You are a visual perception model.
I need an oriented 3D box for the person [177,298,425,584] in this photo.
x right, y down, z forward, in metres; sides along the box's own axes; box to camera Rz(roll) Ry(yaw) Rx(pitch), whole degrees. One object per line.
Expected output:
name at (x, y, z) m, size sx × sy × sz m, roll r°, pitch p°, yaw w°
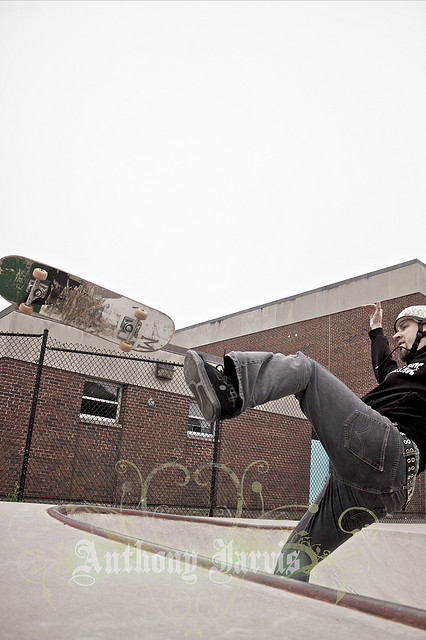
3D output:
person at (0.399, 0.536, 1.880) m, size 0.573 × 1.022 × 1.055 m, roll -4°, pitch -15°, yaw 40°

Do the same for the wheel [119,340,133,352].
wheel at (-1.672, 0.531, 9.462) m, size 0.203 × 0.155 × 0.198 m, roll 22°, pitch -12°, yaw 5°

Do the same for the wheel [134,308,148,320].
wheel at (-1.351, -0.098, 9.267) m, size 0.205 × 0.131 × 0.199 m, roll 10°, pitch -1°, yaw 0°

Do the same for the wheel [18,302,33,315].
wheel at (-3.253, -0.201, 8.666) m, size 0.211 × 0.191 × 0.294 m, roll 5°, pitch -11°, yaw 2°

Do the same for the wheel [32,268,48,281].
wheel at (-2.903, -0.762, 8.282) m, size 0.140 × 0.192 × 0.196 m, roll -14°, pitch 28°, yaw -25°
